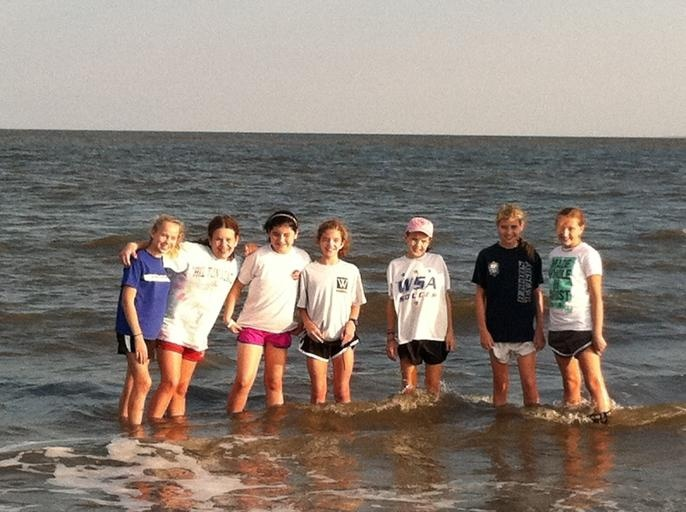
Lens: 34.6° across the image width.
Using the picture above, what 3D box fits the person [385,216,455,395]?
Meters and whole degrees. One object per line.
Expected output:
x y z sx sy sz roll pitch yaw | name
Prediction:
1.044 0.659 14.993 0.893 2.331 0.357 0 3 3 | person

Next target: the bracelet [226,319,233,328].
-1.509 0.906 14.718 0.112 0.114 0.163 0 2 -8 | bracelet

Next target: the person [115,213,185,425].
-2.595 0.865 14.600 0.901 2.804 0.597 1 3 10 | person

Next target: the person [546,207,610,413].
3.115 0.776 14.719 0.799 2.811 0.455 1 3 18 | person

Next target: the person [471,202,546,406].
2.226 0.679 14.939 0.940 2.727 0.440 0 3 5 | person

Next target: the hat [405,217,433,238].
1.035 -0.409 15.048 0.434 0.260 0.639 5 -1 0 | hat

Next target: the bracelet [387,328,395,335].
0.654 1.039 15.090 0.098 0.063 0.118 -2 -7 -6 | bracelet

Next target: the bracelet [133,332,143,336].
-2.661 1.014 14.376 0.067 0.051 0.140 2 3 41 | bracelet
